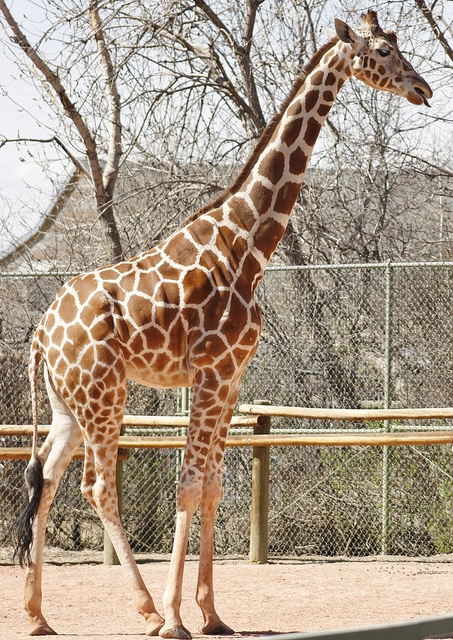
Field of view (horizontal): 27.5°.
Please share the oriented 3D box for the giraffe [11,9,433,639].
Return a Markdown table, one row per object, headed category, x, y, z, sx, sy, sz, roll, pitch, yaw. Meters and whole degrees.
| category | x | y | z | sx | sy | sz | roll | pitch | yaw |
| --- | --- | --- | --- | --- | --- | --- | --- | --- | --- |
| giraffe | -0.062 | -0.077 | 4.385 | 1.638 | 2.991 | 0.512 | 1 | -6 | -5 |
